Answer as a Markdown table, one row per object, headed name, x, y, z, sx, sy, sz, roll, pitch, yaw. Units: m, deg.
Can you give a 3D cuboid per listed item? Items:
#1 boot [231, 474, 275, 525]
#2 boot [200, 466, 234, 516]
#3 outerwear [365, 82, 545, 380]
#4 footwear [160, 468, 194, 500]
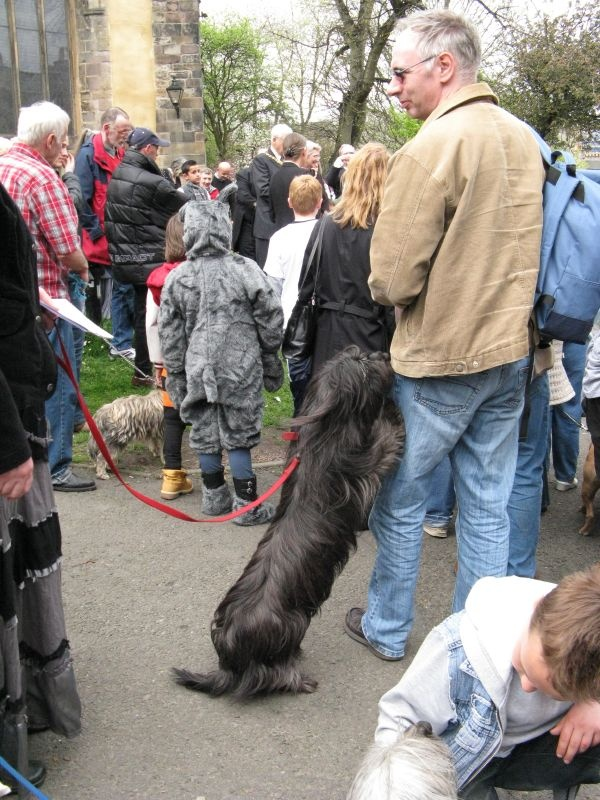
| name | x | y | z | sx | sy | sz | roll | pitch | yaw |
| --- | --- | --- | --- | --- | --- | --- | --- | --- | --- |
| boot | -0.286 | 0.573 | 4.545 | 0.167 | 0.280 | 0.339 | -2 | -3 | 30 |
| boot | -0.484 | 0.495 | 4.642 | 0.176 | 0.267 | 0.300 | 4 | 17 | 10 |
| outerwear | 0.499 | -0.527 | 2.548 | 0.515 | 0.916 | 0.314 | 5 | 16 | 12 |
| footwear | -0.750 | 0.503 | 4.796 | 0.109 | 0.162 | 0.274 | 8 | 17 | 21 |
